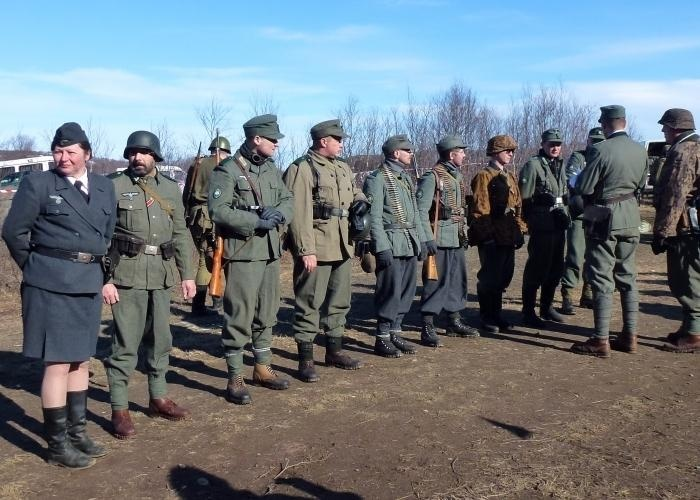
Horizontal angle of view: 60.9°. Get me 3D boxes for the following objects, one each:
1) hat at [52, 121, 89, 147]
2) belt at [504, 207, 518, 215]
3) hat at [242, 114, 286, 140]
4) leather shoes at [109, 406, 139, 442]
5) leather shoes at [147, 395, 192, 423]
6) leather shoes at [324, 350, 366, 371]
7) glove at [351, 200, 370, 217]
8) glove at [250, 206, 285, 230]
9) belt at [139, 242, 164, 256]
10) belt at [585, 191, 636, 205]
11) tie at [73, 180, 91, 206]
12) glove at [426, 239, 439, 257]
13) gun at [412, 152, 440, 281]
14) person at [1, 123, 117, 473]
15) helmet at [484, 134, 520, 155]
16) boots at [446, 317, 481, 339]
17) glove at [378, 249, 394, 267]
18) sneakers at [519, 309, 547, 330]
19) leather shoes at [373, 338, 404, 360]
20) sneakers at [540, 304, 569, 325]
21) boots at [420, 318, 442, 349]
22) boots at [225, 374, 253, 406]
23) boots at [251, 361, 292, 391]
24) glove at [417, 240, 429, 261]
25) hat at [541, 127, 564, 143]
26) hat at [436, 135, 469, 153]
[{"bbox_3d":[-2.183,-0.889,4.650,0.260,0.192,0.198,-6,11,-24],"label":"hat"},{"bbox_3d":[2.163,-0.518,8.065,0.146,0.051,0.097,-1,1,-8],"label":"belt"},{"bbox_3d":[-0.869,-1.210,5.957,0.350,0.248,0.178,3,11,25],"label":"hat"},{"bbox_3d":[-1.976,1.537,5.199,0.143,0.134,0.350,0,-1,-36],"label":"leather shoes"},{"bbox_3d":[-1.701,1.499,5.549,0.417,0.166,0.159,4,10,4],"label":"leather shoes"},{"bbox_3d":[-0.046,1.283,6.930,0.483,0.187,0.168,2,20,9],"label":"leather shoes"},{"bbox_3d":[0.105,-0.465,6.775,0.209,0.179,0.153,-7,11,-34],"label":"glove"},{"bbox_3d":[-0.784,-0.298,5.857,0.258,0.218,0.102,0,16,-22],"label":"glove"},{"bbox_3d":[-1.777,0.006,5.337,0.168,0.106,0.028,-11,14,-43],"label":"belt"},{"bbox_3d":[3.099,-0.602,7.055,0.567,0.149,0.273,1,10,12],"label":"belt"},{"bbox_3d":[-2.156,-0.465,4.803,0.061,0.256,0.079,-35,-8,20],"label":"tie"},{"bbox_3d":[1.016,-0.031,7.423,0.148,0.169,0.081,6,0,-9],"label":"glove"},{"bbox_3d":[1.023,-0.308,7.566,0.395,1.274,0.162,13,-14,-41],"label":"gun"},{"bbox_3d":[-2.302,0.358,4.832,0.724,2.707,0.728,-3,11,-7],"label":"person"},{"bbox_3d":[2.064,-1.409,8.093,0.413,0.223,0.324,6,9,30],"label":"helmet"},{"bbox_3d":[1.527,1.051,8.058,0.506,0.293,0.200,-2,11,12],"label":"boots"},{"bbox_3d":[0.406,0.113,6.986,0.222,0.176,0.161,0,5,-4],"label":"glove"},{"bbox_3d":[2.616,0.990,8.467,0.162,0.170,0.438,-5,2,-19],"label":"sneakers"},{"bbox_3d":[0.438,1.207,7.254,0.431,0.184,0.155,0,2,35],"label":"leather shoes"},{"bbox_3d":[2.907,0.940,8.652,0.455,0.268,0.160,1,9,36],"label":"sneakers"},{"bbox_3d":[1.049,1.077,7.718,0.173,0.320,0.499,-5,9,-15],"label":"boots"},{"bbox_3d":[-1.114,1.418,5.929,0.154,0.156,0.397,0,1,-27],"label":"boots"},{"bbox_3d":[-0.781,1.352,6.326,0.499,0.211,0.190,5,8,22],"label":"boots"},{"bbox_3d":[0.908,0.034,7.316,0.104,0.243,0.263,2,10,20],"label":"glove"},{"bbox_3d":[2.817,-1.599,8.359,0.225,0.128,0.267,0,4,-4],"label":"hat"},{"bbox_3d":[1.308,-1.383,7.808,0.342,0.124,0.230,0,17,4],"label":"hat"}]
